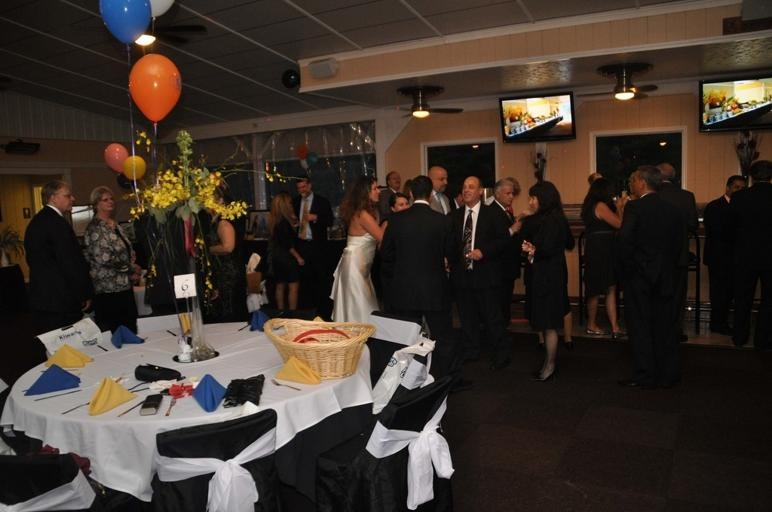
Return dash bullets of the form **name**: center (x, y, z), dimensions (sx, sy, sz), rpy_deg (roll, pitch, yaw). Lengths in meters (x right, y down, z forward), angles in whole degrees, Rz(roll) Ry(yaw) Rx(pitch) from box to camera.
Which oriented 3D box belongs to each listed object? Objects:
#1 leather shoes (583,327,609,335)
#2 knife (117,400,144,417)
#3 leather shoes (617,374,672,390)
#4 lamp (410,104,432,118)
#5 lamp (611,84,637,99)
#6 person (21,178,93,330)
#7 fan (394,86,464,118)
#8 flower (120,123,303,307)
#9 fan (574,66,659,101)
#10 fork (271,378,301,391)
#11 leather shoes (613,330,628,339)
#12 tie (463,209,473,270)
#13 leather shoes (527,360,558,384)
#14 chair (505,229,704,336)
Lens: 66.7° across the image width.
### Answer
- **leather shoes**: center (2.636, 0.937, 7.316), dimensions (0.268, 0.071, 0.103), rpy_deg (-1, -2, 11)
- **knife**: center (-1.590, 0.951, 3.680), dimensions (0.040, 0.018, 0.244), rpy_deg (15, 18, 20)
- **leather shoes**: center (2.541, 1.269, 5.813), dimensions (0.500, 0.150, 0.169), rpy_deg (2, -15, 11)
- **lamp**: center (0.482, -2.062, 8.393), dimensions (0.241, 0.144, 0.236), rpy_deg (-8, 15, -24)
- **lamp**: center (3.070, -2.117, 7.547), dimensions (0.388, 0.127, 0.387), rpy_deg (-6, 24, 13)
- **person**: center (-3.262, -0.003, 5.783), dimensions (0.594, 1.456, 0.364), rpy_deg (-5, 6, -18)
- **fan**: center (0.548, -2.305, 8.614), dimensions (0.686, 0.249, 0.629), rpy_deg (0, 2, 17)
- **flower**: center (-1.483, -0.307, 4.500), dimensions (1.258, 1.412, 0.851), rpy_deg (-3, 15, -5)
- **fan**: center (3.068, -2.236, 7.521), dimensions (0.679, 0.449, 0.494), rpy_deg (-1, 5, 22)
- **fork**: center (-0.652, 0.846, 3.841), dimensions (0.184, 0.028, 0.031), rpy_deg (11, 54, 26)
- **leather shoes**: center (2.872, 0.957, 7.192), dimensions (0.247, 0.093, 0.084), rpy_deg (0, 5, -45)
- **tie**: center (0.852, -0.145, 6.132), dimensions (0.071, 0.672, 0.134), rpy_deg (5, -3, -42)
- **leather shoes**: center (1.611, 1.201, 6.047), dimensions (0.258, 0.105, 0.152), rpy_deg (-15, 6, -11)
- **chair**: center (2.395, 0.295, 6.423), dimensions (1.355, 0.860, 0.462), rpy_deg (-3, -4, 44)
